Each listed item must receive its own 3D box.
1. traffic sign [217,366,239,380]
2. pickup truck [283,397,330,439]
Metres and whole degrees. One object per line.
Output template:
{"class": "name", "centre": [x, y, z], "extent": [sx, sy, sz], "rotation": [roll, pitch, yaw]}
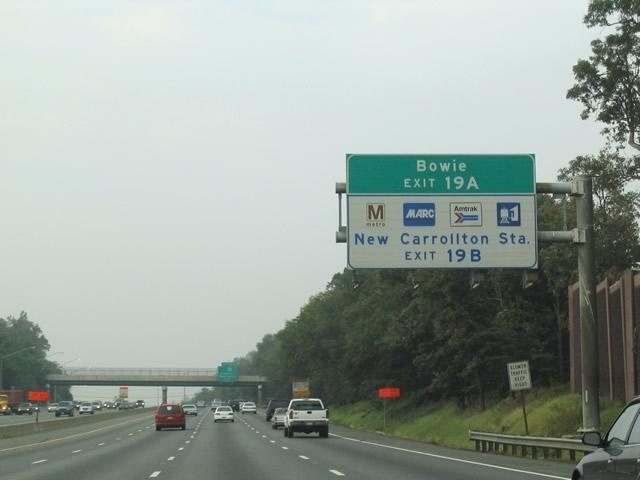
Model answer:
{"class": "traffic sign", "centre": [-13.178, 18.787, 169.595], "extent": [2.671, 2.245, 2.327], "rotation": [-1, -9, -10]}
{"class": "pickup truck", "centre": [-0.982, 11.854, 79.529], "extent": [2.729, 2.802, 5.887], "rotation": [1, -9, -10]}
